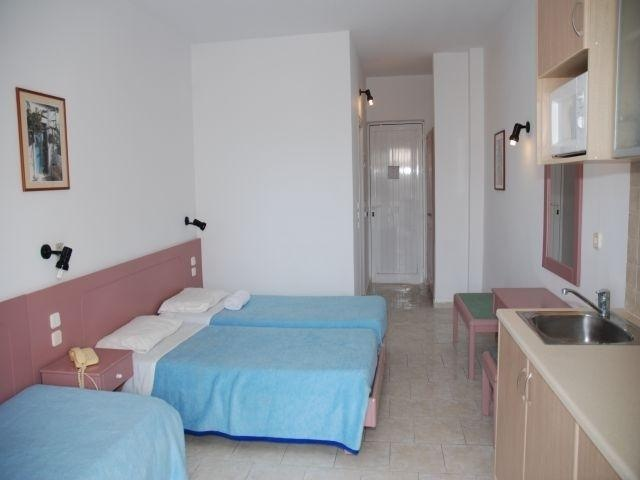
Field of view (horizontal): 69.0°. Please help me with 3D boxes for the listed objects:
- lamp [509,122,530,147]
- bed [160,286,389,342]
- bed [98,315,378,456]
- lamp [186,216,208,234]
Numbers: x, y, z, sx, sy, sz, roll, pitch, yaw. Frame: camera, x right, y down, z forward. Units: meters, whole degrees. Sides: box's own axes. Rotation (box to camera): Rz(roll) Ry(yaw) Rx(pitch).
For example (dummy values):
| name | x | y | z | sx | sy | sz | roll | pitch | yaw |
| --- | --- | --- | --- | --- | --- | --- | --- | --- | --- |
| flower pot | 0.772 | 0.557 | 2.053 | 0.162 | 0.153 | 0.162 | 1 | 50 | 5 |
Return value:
| name | x | y | z | sx | sy | sz | roll | pitch | yaw |
| --- | --- | --- | --- | --- | --- | --- | --- | --- | --- |
| lamp | 1.921 | -1.023 | 4.445 | 0.162 | 0.228 | 0.600 | 6 | 14 | 23 |
| bed | -0.221 | 0.671 | 4.393 | 1.306 | 0.346 | 0.846 | 0 | 6 | 10 |
| bed | -0.420 | 1.018 | 3.441 | 1.288 | 0.392 | 0.926 | 2 | 12 | 8 |
| lamp | -1.377 | -0.185 | 5.151 | 0.226 | 0.137 | 0.136 | 15 | 31 | 10 |
